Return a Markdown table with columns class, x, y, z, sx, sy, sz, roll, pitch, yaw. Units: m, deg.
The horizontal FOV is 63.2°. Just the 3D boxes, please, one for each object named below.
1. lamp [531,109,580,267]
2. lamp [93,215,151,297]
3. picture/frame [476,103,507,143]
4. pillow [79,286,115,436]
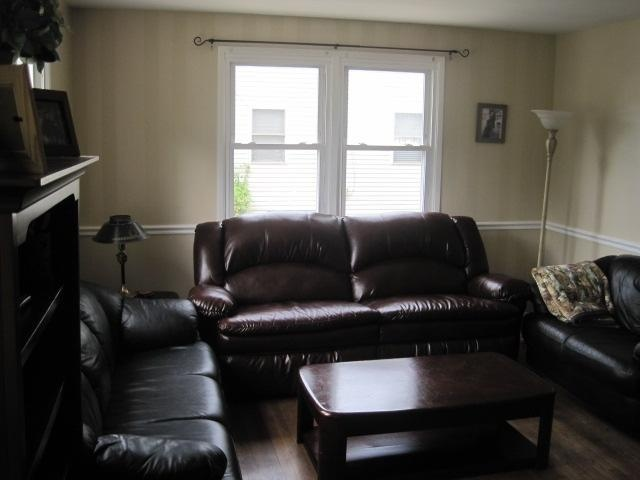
| class | x | y | z | sx | sy | sz | roll | pitch | yaw |
| --- | --- | --- | --- | --- | --- | --- | --- | --- | --- |
| lamp | 2.138 | -0.437 | 4.990 | 0.344 | 1.560 | 0.797 | 6 | 16 | 24 |
| lamp | -1.530 | 0.151 | 4.005 | 0.327 | 0.611 | 0.341 | 11 | 15 | 38 |
| picture/frame | 1.642 | -1.140 | 5.040 | 0.356 | 0.448 | 0.030 | -2 | 6 | -17 |
| pillow | -1.052 | 0.581 | 2.442 | 0.147 | 0.173 | 0.809 | -9 | 52 | -11 |
